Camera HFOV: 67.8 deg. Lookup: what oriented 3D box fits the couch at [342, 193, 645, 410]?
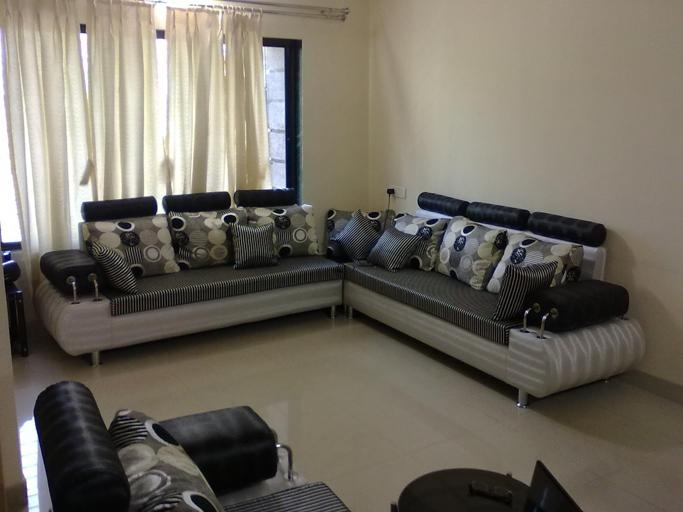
[{"bbox_3d":[1.078,0.224,4.598,1.147,1.338,2.709,0,10,-30],"label":"couch"}]
